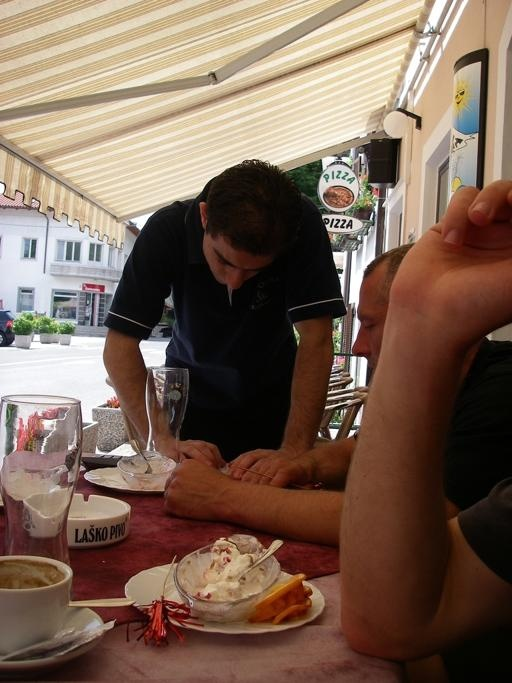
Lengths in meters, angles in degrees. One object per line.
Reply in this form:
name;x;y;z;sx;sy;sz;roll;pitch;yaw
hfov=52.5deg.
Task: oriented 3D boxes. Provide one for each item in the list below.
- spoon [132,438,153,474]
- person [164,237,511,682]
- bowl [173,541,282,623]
spoon;-0.323;0.333;1.479;0.028;0.033;0.182;-39;35;-1
person;0.354;0.289;1.482;0.790;1.096;1.138;0;2;35
bowl;-0.042;0.312;0.673;0.124;0.055;0.135;-3;7;0
